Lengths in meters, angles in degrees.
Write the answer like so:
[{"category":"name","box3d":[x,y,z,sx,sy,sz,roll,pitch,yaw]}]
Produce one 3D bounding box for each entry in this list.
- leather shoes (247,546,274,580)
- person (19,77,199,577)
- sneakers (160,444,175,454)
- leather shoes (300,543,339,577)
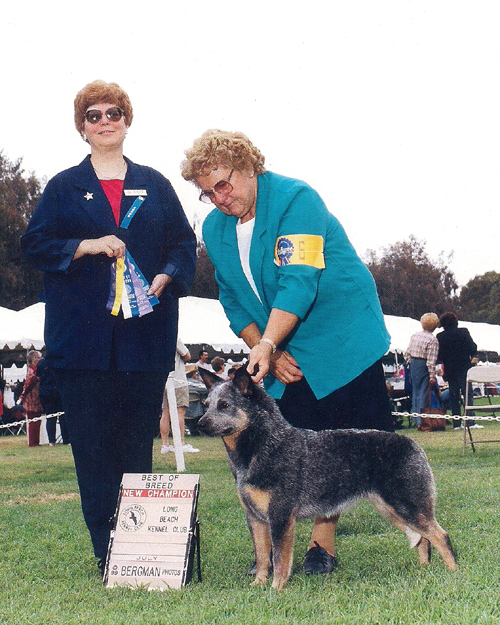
[{"category":"leather shoes","box3d":[0.051,1.244,3.657,0.095,0.148,0.158,0,-1,4]},{"category":"person","box3d":[-0.633,0.057,3.458,0.763,2.304,0.491,-3,-4,-6]},{"category":"sneakers","box3d":[-1.182,1.952,10.547,0.077,0.092,0.212,2,3,23]},{"category":"leather shoes","box3d":[0.340,1.219,3.637,0.104,0.095,0.298,-2,-11,5]}]
